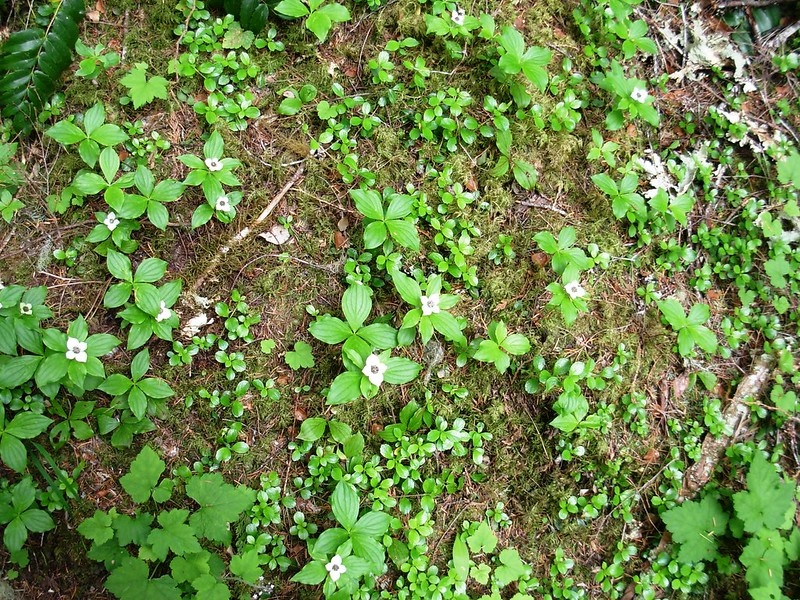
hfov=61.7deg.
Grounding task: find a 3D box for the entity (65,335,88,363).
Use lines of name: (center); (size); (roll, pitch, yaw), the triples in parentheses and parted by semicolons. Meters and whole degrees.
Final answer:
entity: (-2.011, 0.311, 4.178); (0.128, 0.065, 0.131); (9, 64, -15)
